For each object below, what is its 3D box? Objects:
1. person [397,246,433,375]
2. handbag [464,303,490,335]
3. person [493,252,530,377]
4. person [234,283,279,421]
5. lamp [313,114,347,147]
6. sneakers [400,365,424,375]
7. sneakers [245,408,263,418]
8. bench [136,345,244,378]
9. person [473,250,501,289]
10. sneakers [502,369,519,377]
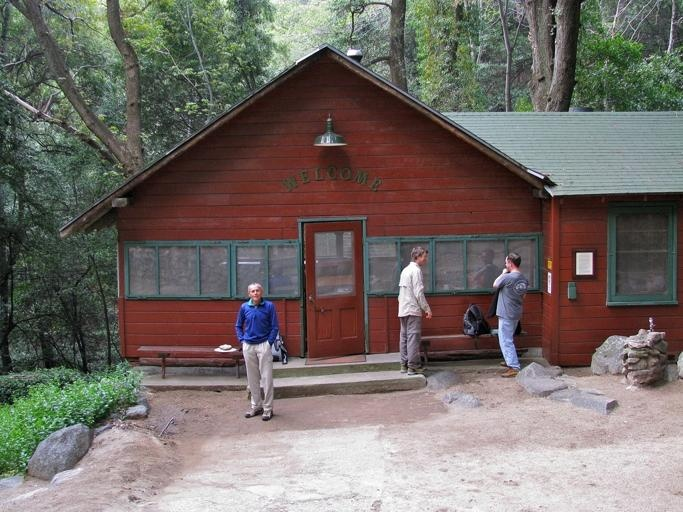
[{"bbox_3d":[1.411,1.100,13.073,0.574,2.490,0.578,-1,11,3],"label":"person"},{"bbox_3d":[2.774,1.307,13.703,0.322,0.496,0.581,-12,1,-11],"label":"handbag"},{"bbox_3d":[3.292,1.159,13.104,0.592,2.405,0.388,1,12,12],"label":"person"},{"bbox_3d":[-1.450,1.668,11.848,0.696,2.432,0.613,9,15,41],"label":"person"},{"bbox_3d":[-0.252,-2.576,13.547,0.745,0.632,0.776,9,14,40],"label":"lamp"},{"bbox_3d":[1.410,2.253,13.180,0.477,0.232,0.179,-3,3,-16],"label":"sneakers"},{"bbox_3d":[-1.563,2.807,11.990,0.118,0.145,0.371,-1,-6,38],"label":"sneakers"},{"bbox_3d":[-3.159,2.153,13.933,2.367,0.675,0.854,0,12,6],"label":"bench"},{"bbox_3d":[3.100,0.310,14.194,0.585,0.797,0.304,5,8,-35],"label":"person"},{"bbox_3d":[3.347,2.303,13.213,0.353,0.154,0.135,-1,-1,36],"label":"sneakers"}]
